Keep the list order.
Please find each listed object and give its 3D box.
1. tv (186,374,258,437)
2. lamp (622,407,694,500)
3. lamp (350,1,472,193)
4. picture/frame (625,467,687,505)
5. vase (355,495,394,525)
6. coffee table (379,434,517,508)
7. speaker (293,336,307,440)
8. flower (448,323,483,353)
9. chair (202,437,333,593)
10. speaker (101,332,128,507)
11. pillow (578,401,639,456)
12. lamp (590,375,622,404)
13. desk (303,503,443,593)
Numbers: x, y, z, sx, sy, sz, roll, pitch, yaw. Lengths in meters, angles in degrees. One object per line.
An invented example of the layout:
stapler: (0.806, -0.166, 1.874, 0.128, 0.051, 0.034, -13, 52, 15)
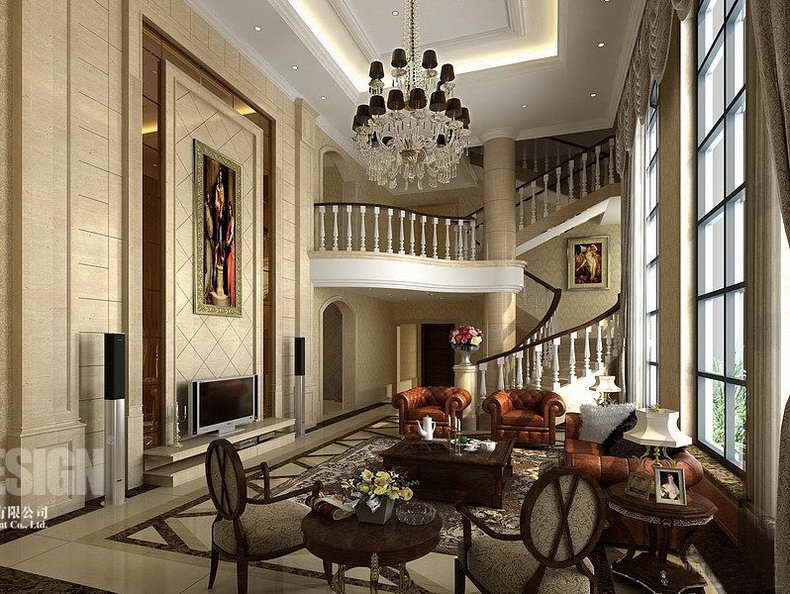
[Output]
tv: (-2.358, 1.468, 8.081, 0.169, 0.712, 1.235, -2, -3, 27)
lamp: (2.241, 1.323, 5.007, 0.534, 0.703, 0.526, 1, -5, 14)
lamp: (0.240, -2.830, 8.716, 1.507, 2.814, 3.512, -1, -6, 2)
picture/frame: (2.185, 1.551, 4.875, 0.447, 0.293, 0.237, -4, -7, 23)
vase: (-0.150, 1.653, 4.528, 0.240, 0.174, 0.214, -1, -13, 11)
coffee table: (0.695, 1.996, 7.399, 1.457, 0.535, 1.503, 1, 8, 13)
speaker: (-1.504, 1.396, 9.412, 0.288, 1.570, 0.286, 2, -7, -29)
flower: (1.244, 0.715, 10.244, 0.474, 0.458, 0.468, -1, -6, -3)
chair: (-1.150, 1.825, 4.996, 0.877, 1.291, 0.789, 2, -7, -29)
speaker: (-3.114, 1.351, 6.497, 0.222, 1.878, 0.407, 2, -7, -24)
pillow: (2.557, 1.524, 7.067, 0.223, 0.733, 0.747, 16, 4, -28)
lamp: (3.477, 1.479, 9.468, 0.482, 0.436, 0.492, 0, -6, -8)
desk: (-0.162, 1.838, 4.512, 1.096, 0.313, 0.582, 0, -6, -10)
